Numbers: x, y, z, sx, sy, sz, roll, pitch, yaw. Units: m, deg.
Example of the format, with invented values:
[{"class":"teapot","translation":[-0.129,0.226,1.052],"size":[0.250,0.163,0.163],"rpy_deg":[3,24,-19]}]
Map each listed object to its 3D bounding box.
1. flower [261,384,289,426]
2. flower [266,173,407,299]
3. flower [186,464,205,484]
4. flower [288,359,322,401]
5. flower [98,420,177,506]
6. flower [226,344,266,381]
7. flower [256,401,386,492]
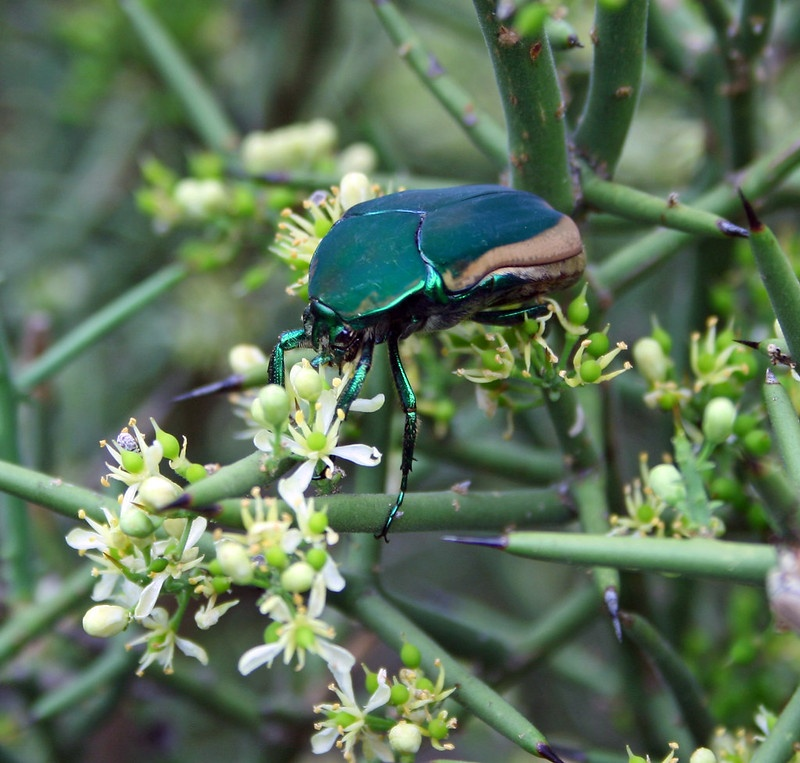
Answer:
[{"class":"flower","translation":[-0.183,0.036,1.431],"size":[0.031,0.033,0.056],"rpy_deg":[-19,-46,2]},{"class":"flower","translation":[-0.114,-0.269,1.821],"size":[0.242,0.112,0.260],"rpy_deg":[-48,-4,-8]},{"class":"flower","translation":[-0.299,0.134,1.444],"size":[0.033,0.025,0.024],"rpy_deg":[24,-15,-26]},{"class":"flower","translation":[-0.142,-0.003,1.506],"size":[0.046,0.047,0.062],"rpy_deg":[2,-16,29]},{"class":"flower","translation":[-0.384,0.126,1.522],"size":[0.137,0.043,0.095],"rpy_deg":[-34,10,5]},{"class":"flower","translation":[-0.288,-0.030,1.886],"size":[0.078,0.049,0.092],"rpy_deg":[0,16,-14]},{"class":"flower","translation":[-0.118,0.083,1.504],"size":[0.188,0.061,0.163],"rpy_deg":[-11,19,-32]}]
